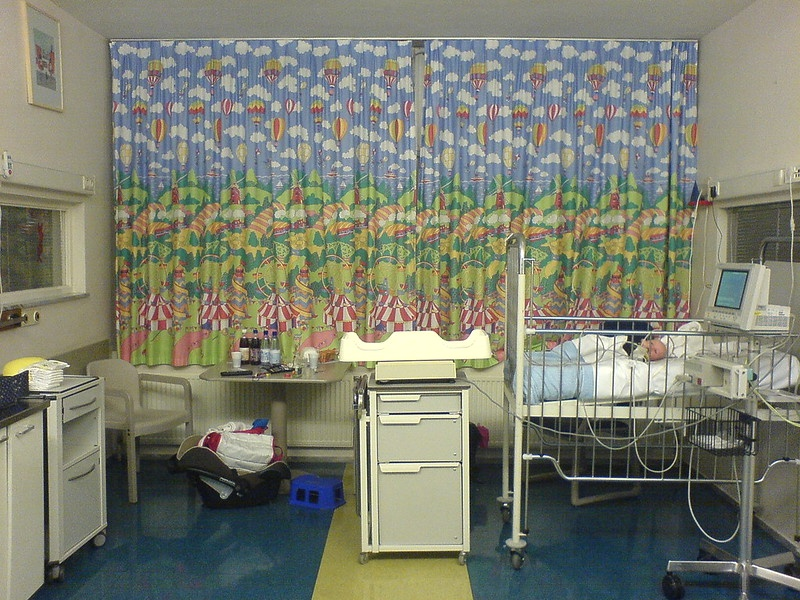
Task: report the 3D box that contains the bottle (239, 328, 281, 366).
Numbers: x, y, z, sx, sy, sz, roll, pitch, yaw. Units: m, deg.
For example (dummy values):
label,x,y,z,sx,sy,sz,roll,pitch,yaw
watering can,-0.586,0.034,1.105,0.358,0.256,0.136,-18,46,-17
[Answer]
label,x,y,z,sx,sy,sz,roll,pitch,yaw
bottle,-1.129,0.386,6.268,0.255,0.260,0.089,0,-5,-12

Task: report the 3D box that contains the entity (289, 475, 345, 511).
label,x,y,z,sx,sy,sz,roll,pitch,yaw
entity,-0.619,1.428,5.827,0.281,0.121,0.235,0,1,23

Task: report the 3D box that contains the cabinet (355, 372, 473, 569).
label,x,y,z,sx,sy,sz,roll,pitch,yaw
cabinet,0.125,1.086,5.464,0.974,1.187,1.064,-2,5,-20

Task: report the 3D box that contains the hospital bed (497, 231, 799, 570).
label,x,y,z,sx,sy,sz,roll,pitch,yaw
hospital bed,1.885,0.691,5.915,2.210,2.257,1.625,1,1,2

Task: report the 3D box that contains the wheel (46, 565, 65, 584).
label,x,y,z,sx,sy,sz,roll,pitch,yaw
wheel,-2.125,1.681,4.824,0.111,0.131,0.109,-1,0,0

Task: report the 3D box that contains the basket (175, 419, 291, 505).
label,x,y,z,sx,sy,sz,roll,pitch,yaw
basket,-1.307,1.244,5.982,0.899,0.630,0.771,4,6,4

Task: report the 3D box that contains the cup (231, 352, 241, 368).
label,x,y,z,sx,sy,sz,roll,pitch,yaw
cup,-1.275,0.470,6.075,0.098,0.120,0.100,0,-1,0

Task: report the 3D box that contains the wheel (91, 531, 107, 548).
label,x,y,z,sx,sy,sz,roll,pitch,yaw
wheel,-2.002,1.585,5.210,0.076,0.114,0.028,31,-11,-32

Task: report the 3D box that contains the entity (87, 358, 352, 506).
label,x,y,z,sx,sy,sz,roll,pitch,yaw
entity,-1.589,1.120,6.170,1.447,0.787,1.177,0,3,-2

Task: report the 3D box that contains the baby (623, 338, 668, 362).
label,x,y,z,sx,sy,sz,roll,pitch,yaw
baby,1.687,0.343,5.391,0.258,0.149,0.155,0,3,-17

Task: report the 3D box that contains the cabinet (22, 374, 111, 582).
label,x,y,z,sx,sy,sz,roll,pitch,yaw
cabinet,-2.312,1.110,5.049,0.617,1.134,0.668,2,4,0
